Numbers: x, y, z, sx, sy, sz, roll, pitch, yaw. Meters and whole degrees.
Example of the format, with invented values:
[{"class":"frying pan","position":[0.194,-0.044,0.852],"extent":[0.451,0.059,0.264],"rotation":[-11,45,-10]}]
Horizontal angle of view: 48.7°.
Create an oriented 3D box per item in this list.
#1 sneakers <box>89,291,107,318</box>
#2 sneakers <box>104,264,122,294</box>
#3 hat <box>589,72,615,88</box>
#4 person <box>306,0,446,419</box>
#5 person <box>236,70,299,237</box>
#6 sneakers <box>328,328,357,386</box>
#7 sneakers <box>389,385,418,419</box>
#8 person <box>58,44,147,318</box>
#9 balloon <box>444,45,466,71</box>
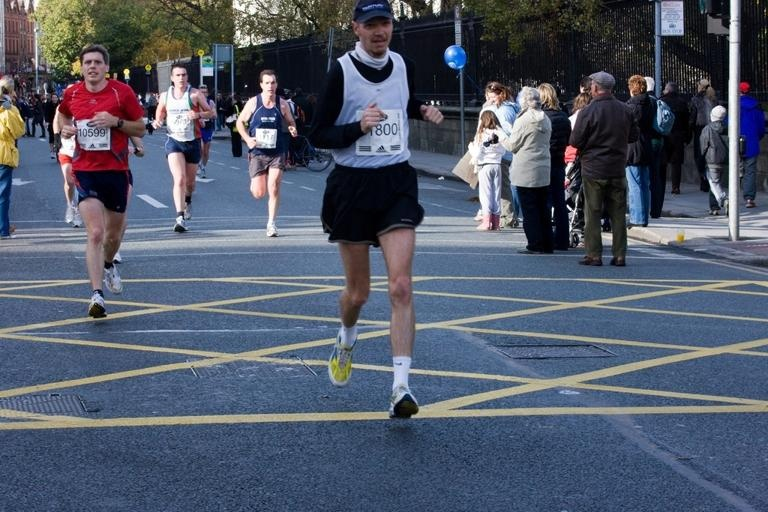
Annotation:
[{"class":"sneakers","position":[-2.855,0.504,8.290],"extent":[0.136,0.156,0.309],"rotation":[3,-22,-14]},{"class":"sneakers","position":[-2.983,0.256,9.153],"extent":[0.130,0.351,0.157],"rotation":[-27,5,0]},{"class":"hat","position":[2.993,-2.398,11.640],"extent":[0.295,0.121,0.354],"rotation":[8,25,-2]},{"class":"person","position":[-0.080,-0.337,5.885],"extent":[0.887,2.831,0.800],"rotation":[1,8,9]},{"class":"person","position":[-1.946,-1.665,13.864],"extent":[0.911,2.673,1.027],"rotation":[-1,8,-6]},{"class":"sneakers","position":[-0.332,0.751,6.212],"extent":[0.162,0.460,0.207],"rotation":[4,5,-8]},{"class":"sneakers","position":[0.118,0.979,5.673],"extent":[0.192,0.234,0.116],"rotation":[2,8,14]},{"class":"person","position":[-2.859,-0.637,8.573],"extent":[0.825,2.386,1.080],"rotation":[-3,8,-20]},{"class":"balloon","position":[2.068,-5.734,24.353],"extent":[0.512,0.670,1.234],"rotation":[1,10,8]}]
